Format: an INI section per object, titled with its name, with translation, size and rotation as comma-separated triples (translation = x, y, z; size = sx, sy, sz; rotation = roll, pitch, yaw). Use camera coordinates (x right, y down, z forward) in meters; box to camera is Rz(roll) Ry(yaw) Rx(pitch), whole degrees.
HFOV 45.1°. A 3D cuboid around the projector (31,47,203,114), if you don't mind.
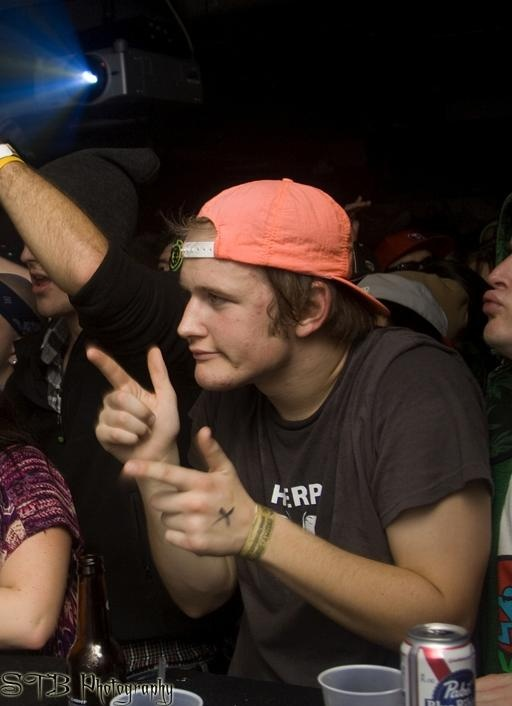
[projector]
translation = -0.728, -1.501, 3.411
size = 0.426, 0.205, 0.583
rotation = -5, 6, -41
